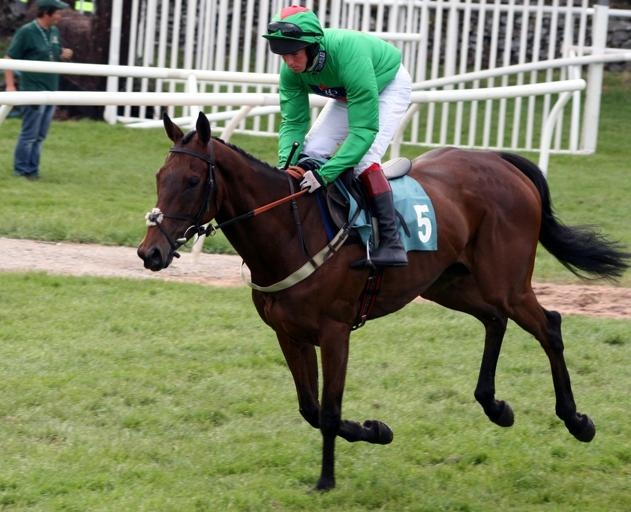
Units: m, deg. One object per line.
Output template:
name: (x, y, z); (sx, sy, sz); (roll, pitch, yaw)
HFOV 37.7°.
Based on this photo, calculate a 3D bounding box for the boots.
boots: (0.339, -0.192, 4.595); (0.274, 0.499, 0.263); (5, 10, 1)

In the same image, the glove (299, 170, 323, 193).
glove: (-0.017, -0.365, 4.578); (0.109, 0.113, 0.074); (2, 10, -12)

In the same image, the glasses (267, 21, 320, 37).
glasses: (-0.128, -1.080, 4.482); (0.188, 0.032, 0.116); (3, 6, -34)

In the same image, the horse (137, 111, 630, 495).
horse: (0.369, 0.203, 4.872); (2.698, 1.779, 0.942); (1, 10, -15)
